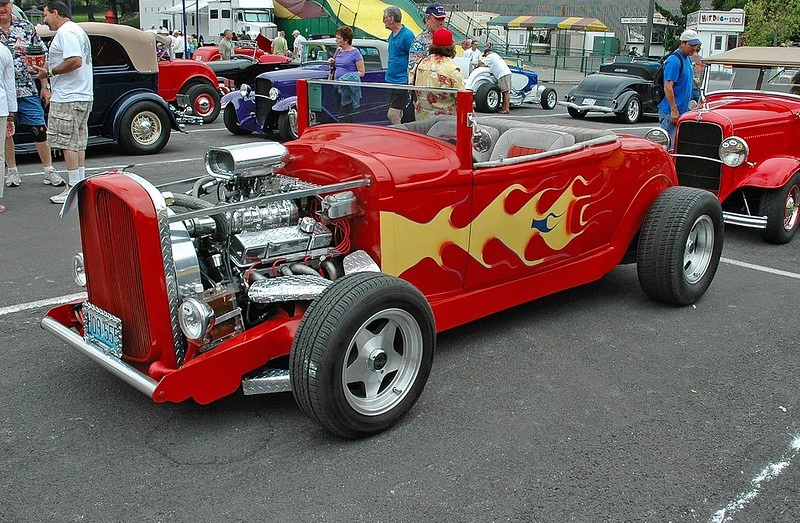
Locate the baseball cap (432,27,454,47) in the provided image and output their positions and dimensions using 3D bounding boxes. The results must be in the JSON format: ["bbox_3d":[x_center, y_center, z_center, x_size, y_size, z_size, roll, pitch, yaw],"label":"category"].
[{"bbox_3d":[0.464,-2.311,6.046,0.171,0.145,0.260,11,45,12],"label":"baseball cap"}]

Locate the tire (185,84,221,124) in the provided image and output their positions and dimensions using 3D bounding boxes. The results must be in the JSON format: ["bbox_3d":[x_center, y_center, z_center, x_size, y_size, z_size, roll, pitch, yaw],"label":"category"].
[{"bbox_3d":[-4.831,-3.933,14.620,0.881,0.969,0.321,-5,6,8],"label":"tire"}]

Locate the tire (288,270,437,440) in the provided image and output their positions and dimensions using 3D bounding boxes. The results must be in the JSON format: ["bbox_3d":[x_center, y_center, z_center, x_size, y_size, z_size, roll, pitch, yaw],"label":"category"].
[{"bbox_3d":[-0.203,0.641,3.909,1.014,1.087,0.337,-14,22,-38],"label":"tire"}]

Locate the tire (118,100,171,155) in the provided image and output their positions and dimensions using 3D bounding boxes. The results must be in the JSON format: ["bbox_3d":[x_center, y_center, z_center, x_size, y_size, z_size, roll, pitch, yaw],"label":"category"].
[{"bbox_3d":[-4.719,-2.491,10.729,0.310,0.948,0.900,15,5,42],"label":"tire"}]

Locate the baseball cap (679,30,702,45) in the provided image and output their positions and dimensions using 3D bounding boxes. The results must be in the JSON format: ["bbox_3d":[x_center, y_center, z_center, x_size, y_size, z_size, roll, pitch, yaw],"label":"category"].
[{"bbox_3d":[4.297,-3.322,8.587,0.366,0.221,0.283,13,29,36],"label":"baseball cap"}]

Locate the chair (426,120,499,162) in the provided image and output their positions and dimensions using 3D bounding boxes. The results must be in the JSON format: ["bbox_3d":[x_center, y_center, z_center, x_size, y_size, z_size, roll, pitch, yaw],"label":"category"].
[{"bbox_3d":[0.494,-0.965,4.699,0.507,0.330,0.379,21,-1,-40],"label":"chair"}]

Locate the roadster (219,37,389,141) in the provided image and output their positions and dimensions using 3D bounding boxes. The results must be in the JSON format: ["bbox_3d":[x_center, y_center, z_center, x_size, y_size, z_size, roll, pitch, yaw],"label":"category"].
[{"bbox_3d":[-1.354,-3.839,13.201,4.311,2.220,2.557,-18,21,-40],"label":"roadster"}]

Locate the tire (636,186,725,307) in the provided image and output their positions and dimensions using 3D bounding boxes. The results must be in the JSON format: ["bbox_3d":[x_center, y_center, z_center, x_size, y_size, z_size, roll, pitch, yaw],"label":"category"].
[{"bbox_3d":[2.756,-0.135,5.642,1.079,1.141,0.384,0,11,-41],"label":"tire"}]

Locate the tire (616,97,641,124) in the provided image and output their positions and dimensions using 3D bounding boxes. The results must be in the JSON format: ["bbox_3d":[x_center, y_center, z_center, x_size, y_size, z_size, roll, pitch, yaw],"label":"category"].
[{"bbox_3d":[6.360,-4.257,16.214,0.668,0.710,0.232,-11,13,-41],"label":"tire"}]

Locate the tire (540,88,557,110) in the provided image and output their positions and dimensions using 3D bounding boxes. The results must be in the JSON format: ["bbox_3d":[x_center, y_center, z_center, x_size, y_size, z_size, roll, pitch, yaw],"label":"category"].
[{"bbox_3d":[4.793,-5.267,18.782,0.288,0.823,0.782,2,10,35],"label":"tire"}]

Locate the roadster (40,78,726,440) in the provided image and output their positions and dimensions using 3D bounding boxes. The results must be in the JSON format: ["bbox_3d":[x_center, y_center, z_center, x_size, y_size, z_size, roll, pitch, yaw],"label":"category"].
[{"bbox_3d":[0.389,-0.239,4.777,4.835,1.819,2.718,-15,17,-37],"label":"roadster"}]

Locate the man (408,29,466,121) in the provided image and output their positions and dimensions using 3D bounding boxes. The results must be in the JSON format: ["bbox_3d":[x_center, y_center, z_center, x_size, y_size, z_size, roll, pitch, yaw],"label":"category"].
[{"bbox_3d":[0.382,-1.808,6.179,0.570,1.431,0.425,10,54,4],"label":"man"}]

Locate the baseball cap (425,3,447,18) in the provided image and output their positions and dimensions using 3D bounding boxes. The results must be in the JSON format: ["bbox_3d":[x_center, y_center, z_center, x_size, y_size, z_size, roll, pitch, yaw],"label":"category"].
[{"bbox_3d":[0.500,-3.605,8.353,0.308,0.193,0.236,15,33,34],"label":"baseball cap"}]

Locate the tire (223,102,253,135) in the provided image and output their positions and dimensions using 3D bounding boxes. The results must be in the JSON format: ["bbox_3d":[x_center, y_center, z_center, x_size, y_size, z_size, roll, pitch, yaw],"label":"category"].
[{"bbox_3d":[-3.492,-3.158,12.692,0.234,0.676,0.646,0,2,25],"label":"tire"}]
